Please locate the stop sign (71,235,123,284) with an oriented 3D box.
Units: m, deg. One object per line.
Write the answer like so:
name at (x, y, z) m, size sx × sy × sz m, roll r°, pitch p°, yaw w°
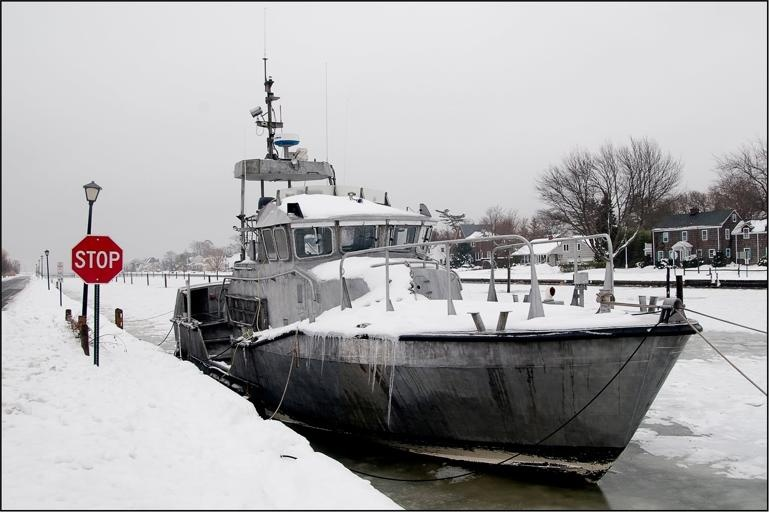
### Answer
stop sign at (-5.514, 0.091, 14.054) m, size 1.164 × 1.061 × 0.164 m, roll 2°, pitch -9°, yaw -30°
